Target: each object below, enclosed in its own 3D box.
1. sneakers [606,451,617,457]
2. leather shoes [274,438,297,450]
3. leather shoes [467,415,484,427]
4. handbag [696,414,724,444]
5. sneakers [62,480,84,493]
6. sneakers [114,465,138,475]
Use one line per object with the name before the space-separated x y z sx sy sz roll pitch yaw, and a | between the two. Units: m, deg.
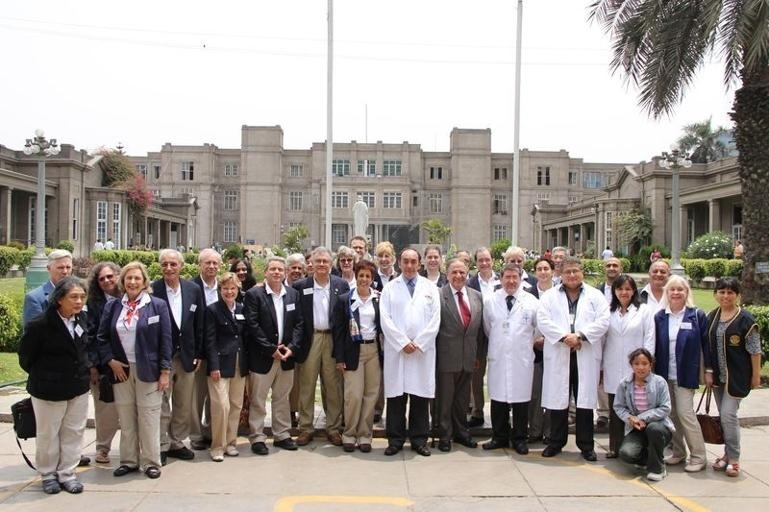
sneakers | 3.836 3.334 13.276 0.078 0.069 0.169 -3 -14 32
leather shoes | -1.696 3.228 13.633 0.429 0.192 0.165 -1 2 19
leather shoes | 1.672 3.001 14.332 0.341 0.153 0.124 2 2 -18
handbag | 5.319 2.821 12.846 0.173 0.434 0.438 -12 9 -25
sneakers | -4.848 3.557 12.182 0.289 0.170 0.127 6 -25 19
sneakers | -4.172 3.433 12.683 0.355 0.120 0.133 9 -8 -40
